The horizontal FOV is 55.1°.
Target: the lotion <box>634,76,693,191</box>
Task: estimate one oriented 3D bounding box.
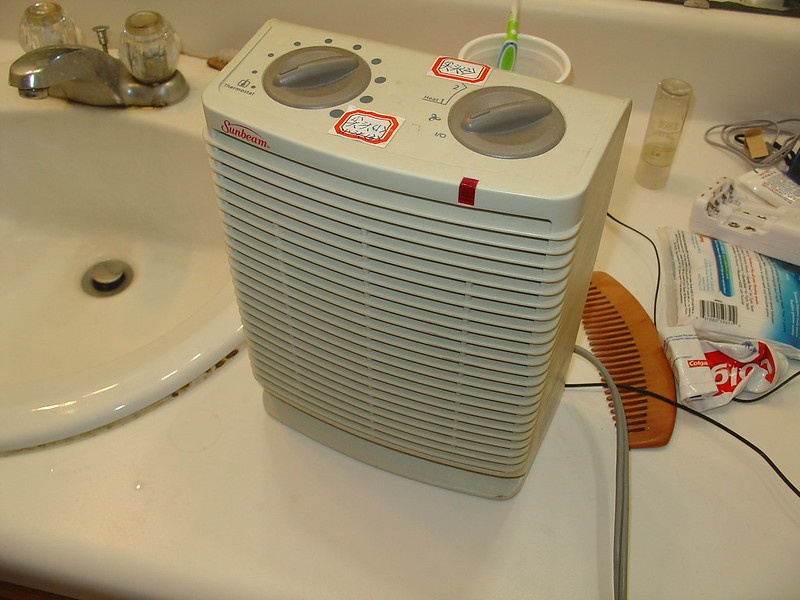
[{"bbox_3d":[0.324,-0.197,0.940,0.049,0.126,0.046,25,45,26],"label":"lotion"}]

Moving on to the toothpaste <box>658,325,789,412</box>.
[{"bbox_3d":[0.339,0.073,0.789,0.091,0.038,0.089,-9,48,7],"label":"toothpaste"}]

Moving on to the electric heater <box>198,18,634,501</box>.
[{"bbox_3d":[0.011,-0.013,0.655,0.315,0.408,0.235,19,50,16],"label":"electric heater"}]
